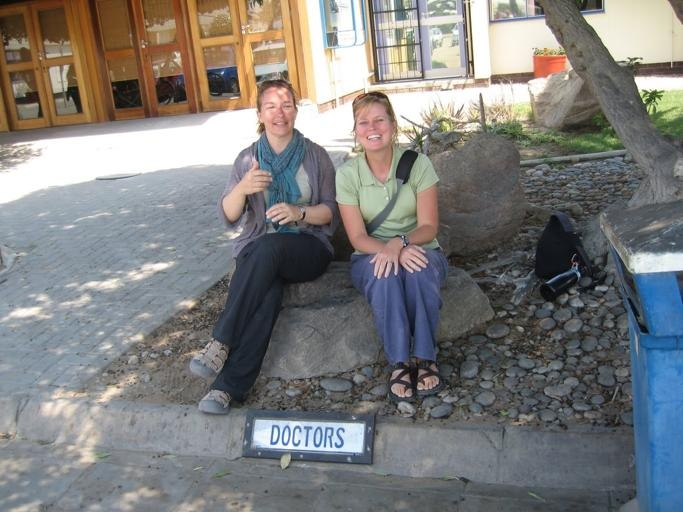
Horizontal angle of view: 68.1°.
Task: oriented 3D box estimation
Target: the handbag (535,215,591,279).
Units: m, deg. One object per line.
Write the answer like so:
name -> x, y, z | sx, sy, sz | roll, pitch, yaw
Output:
handbag -> 1.876, -0.079, 3.935 | 0.576, 0.473, 0.401 | 4, 7, -44

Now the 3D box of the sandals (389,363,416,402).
sandals -> 0.374, 0.761, 3.052 | 0.125, 0.104, 0.291 | -1, 4, 4

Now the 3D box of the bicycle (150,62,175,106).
bicycle -> -4.744, -4.541, 13.301 | 0.351, 0.843, 0.858 | -6, -7, 2

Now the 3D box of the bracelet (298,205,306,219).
bracelet -> -0.265, -0.291, 3.390 | 0.036, 0.070, 0.059 | 0, 4, -1

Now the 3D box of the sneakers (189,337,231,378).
sneakers -> -0.851, 0.633, 3.258 | 0.189, 0.166, 0.414 | 30, 7, -3

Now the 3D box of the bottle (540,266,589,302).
bottle -> 1.692, 0.168, 3.792 | 0.454, 0.155, 0.137 | -27, 57, -33

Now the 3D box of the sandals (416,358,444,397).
sandals -> 0.538, 0.718, 3.154 | 0.181, 0.161, 0.438 | -8, 9, 13

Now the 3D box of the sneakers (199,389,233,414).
sneakers -> -0.768, 0.883, 3.053 | 0.110, 0.098, 0.248 | 2, -10, 41

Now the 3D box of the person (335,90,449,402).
person -> 0.294, -0.101, 3.162 | 0.664, 1.813, 0.901 | -6, 17, 11

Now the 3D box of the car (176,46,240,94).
car -> -3.302, -4.947, 13.489 | 1.233, 0.793, 1.800 | 6, 31, 2
